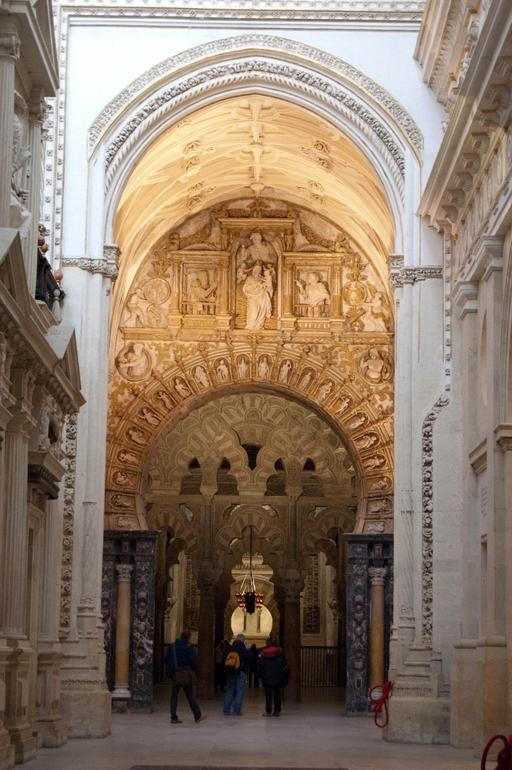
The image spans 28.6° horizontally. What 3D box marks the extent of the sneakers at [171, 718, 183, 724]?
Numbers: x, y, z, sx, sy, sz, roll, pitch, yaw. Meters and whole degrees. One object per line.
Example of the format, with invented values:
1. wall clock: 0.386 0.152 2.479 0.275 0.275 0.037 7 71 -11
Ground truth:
1. sneakers: -1.188 4.982 14.868 0.183 0.073 0.057 2 -4 -9

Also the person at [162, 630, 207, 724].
1. person: -1.082 4.272 14.658 0.480 1.298 1.140 0 -17 -4

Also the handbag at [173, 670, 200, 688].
1. handbag: -1.009 4.156 14.265 0.277 0.248 0.251 2 -38 -5
